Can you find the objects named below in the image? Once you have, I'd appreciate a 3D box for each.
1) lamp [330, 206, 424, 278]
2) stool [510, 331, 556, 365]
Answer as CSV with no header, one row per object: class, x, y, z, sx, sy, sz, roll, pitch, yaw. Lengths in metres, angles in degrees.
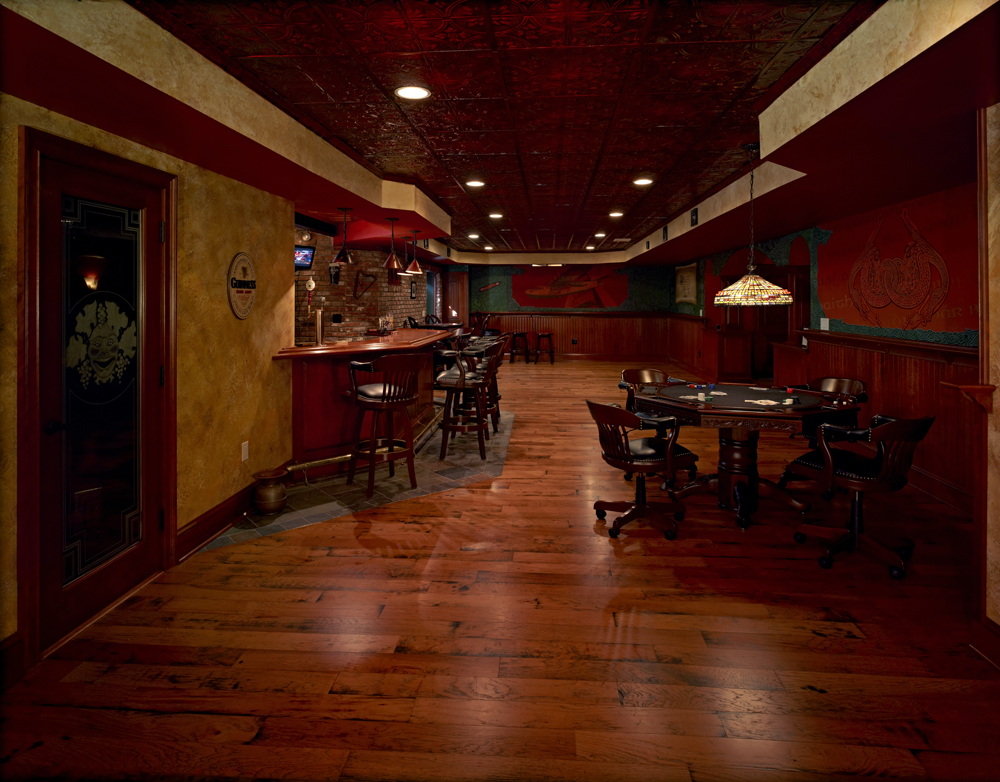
lamp,-1.536,-1.943,8.906,1.257,0.541,1.160,-4,6,-39
stool,0.724,-1.017,15.959,1.202,0.716,0.841,1,10,7
